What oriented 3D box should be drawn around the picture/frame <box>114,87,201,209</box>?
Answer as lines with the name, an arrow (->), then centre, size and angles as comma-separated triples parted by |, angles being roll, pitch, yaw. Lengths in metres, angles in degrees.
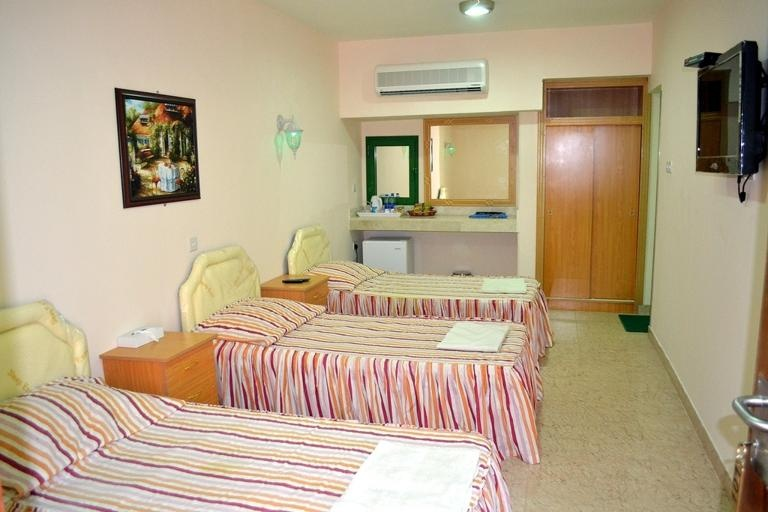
picture/frame -> -1.842, -0.861, 4.276 | 0.095, 1.110, 0.986 | 3, 7, 26

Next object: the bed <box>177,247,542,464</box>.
bed -> -0.162, 0.811, 4.675 | 2.821, 1.316, 1.534 | 2, 13, 13

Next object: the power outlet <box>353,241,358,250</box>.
power outlet -> -0.413, -0.142, 7.686 | 0.062, 0.088, 0.023 | -2, 7, -34

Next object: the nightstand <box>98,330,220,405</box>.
nightstand -> -1.665, 0.797, 4.048 | 0.528, 0.634, 0.648 | 1, 10, 15

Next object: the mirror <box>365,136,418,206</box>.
mirror -> 0.127, -1.256, 7.740 | 0.989, 1.259, 0.103 | 1, 8, 6

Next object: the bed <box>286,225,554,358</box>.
bed -> 0.328, 0.515, 5.913 | 2.598, 1.201, 1.437 | 2, 15, 12

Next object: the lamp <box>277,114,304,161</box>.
lamp -> -1.049, -1.298, 5.930 | 0.381, 0.532, 0.223 | 3, 12, 24

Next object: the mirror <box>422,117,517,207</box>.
mirror -> 1.239, -1.338, 7.464 | 1.231, 1.172, 0.090 | 2, 11, 13

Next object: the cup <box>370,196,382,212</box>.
cup -> -0.124, -0.746, 7.720 | 0.195, 0.222, 0.151 | 8, 15, 39

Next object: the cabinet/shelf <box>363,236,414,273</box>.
cabinet/shelf -> 0.049, -0.019, 7.375 | 0.647, 0.475, 0.619 | 2, 0, 4
